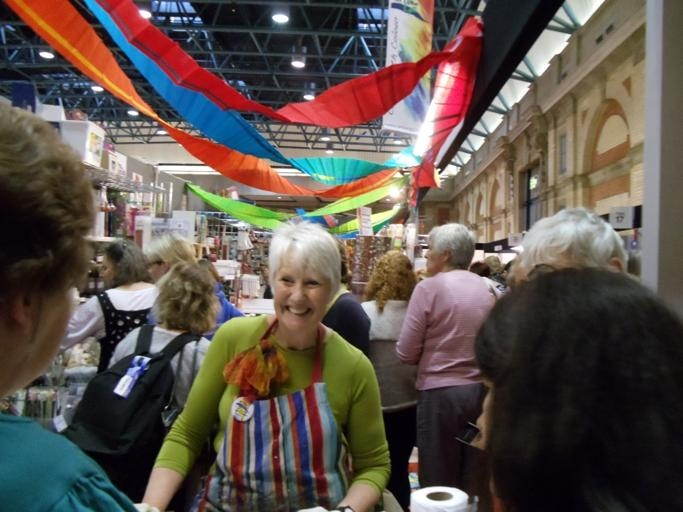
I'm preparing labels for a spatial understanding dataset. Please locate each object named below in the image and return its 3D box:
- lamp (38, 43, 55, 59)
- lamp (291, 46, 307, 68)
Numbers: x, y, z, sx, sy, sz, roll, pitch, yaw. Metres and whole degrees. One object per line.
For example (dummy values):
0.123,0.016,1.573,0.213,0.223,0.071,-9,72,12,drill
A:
-9.915,-6.887,15.185,0.449,0.424,0.831,6,-4,-35,lamp
-1.497,-6.968,15.961,0.475,0.736,1.242,4,-3,-6,lamp
